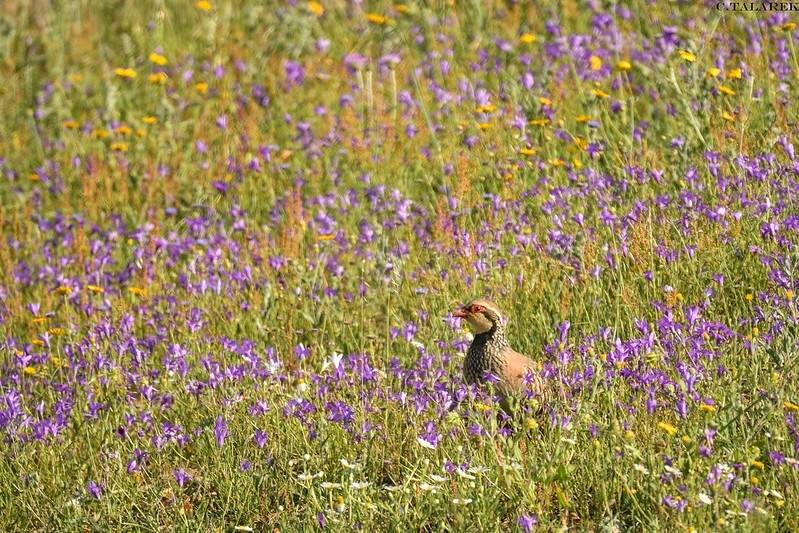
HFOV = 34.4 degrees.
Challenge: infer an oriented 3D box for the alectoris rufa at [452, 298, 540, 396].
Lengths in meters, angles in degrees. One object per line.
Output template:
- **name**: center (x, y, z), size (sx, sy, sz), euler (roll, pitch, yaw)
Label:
- **alectoris rufa**: center (0.604, 0.504, 7.903), size (0.592, 0.528, 0.479), euler (3, 18, 24)
